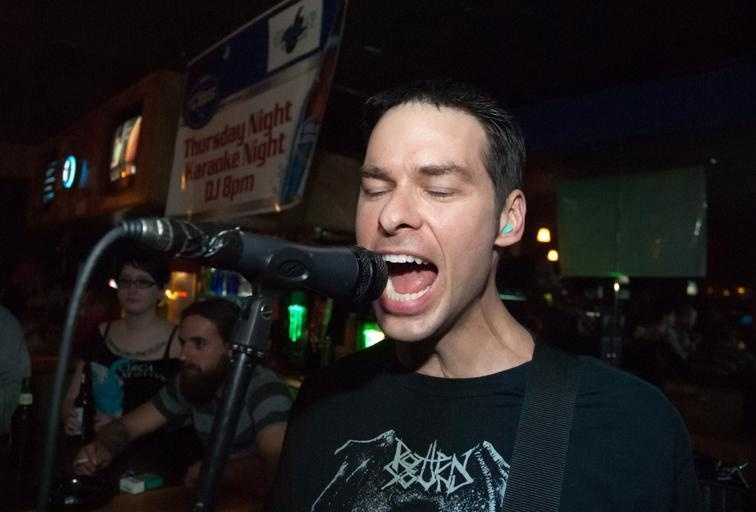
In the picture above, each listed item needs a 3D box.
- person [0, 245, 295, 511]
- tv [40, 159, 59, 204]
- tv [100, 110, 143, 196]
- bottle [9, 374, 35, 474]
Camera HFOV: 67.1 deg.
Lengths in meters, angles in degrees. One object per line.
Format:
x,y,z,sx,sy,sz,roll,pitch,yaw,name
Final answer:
-1.568,0.907,3.967,1.257,1.284,0.729,15,-21,-6,person
-3.035,-0.676,5.256,0.162,0.411,0.078,0,-6,12,tv
-2.234,-0.889,5.008,0.110,0.992,0.693,9,-8,-44,tv
-2.606,1.208,4.188,0.140,0.621,0.291,5,-7,-33,bottle
